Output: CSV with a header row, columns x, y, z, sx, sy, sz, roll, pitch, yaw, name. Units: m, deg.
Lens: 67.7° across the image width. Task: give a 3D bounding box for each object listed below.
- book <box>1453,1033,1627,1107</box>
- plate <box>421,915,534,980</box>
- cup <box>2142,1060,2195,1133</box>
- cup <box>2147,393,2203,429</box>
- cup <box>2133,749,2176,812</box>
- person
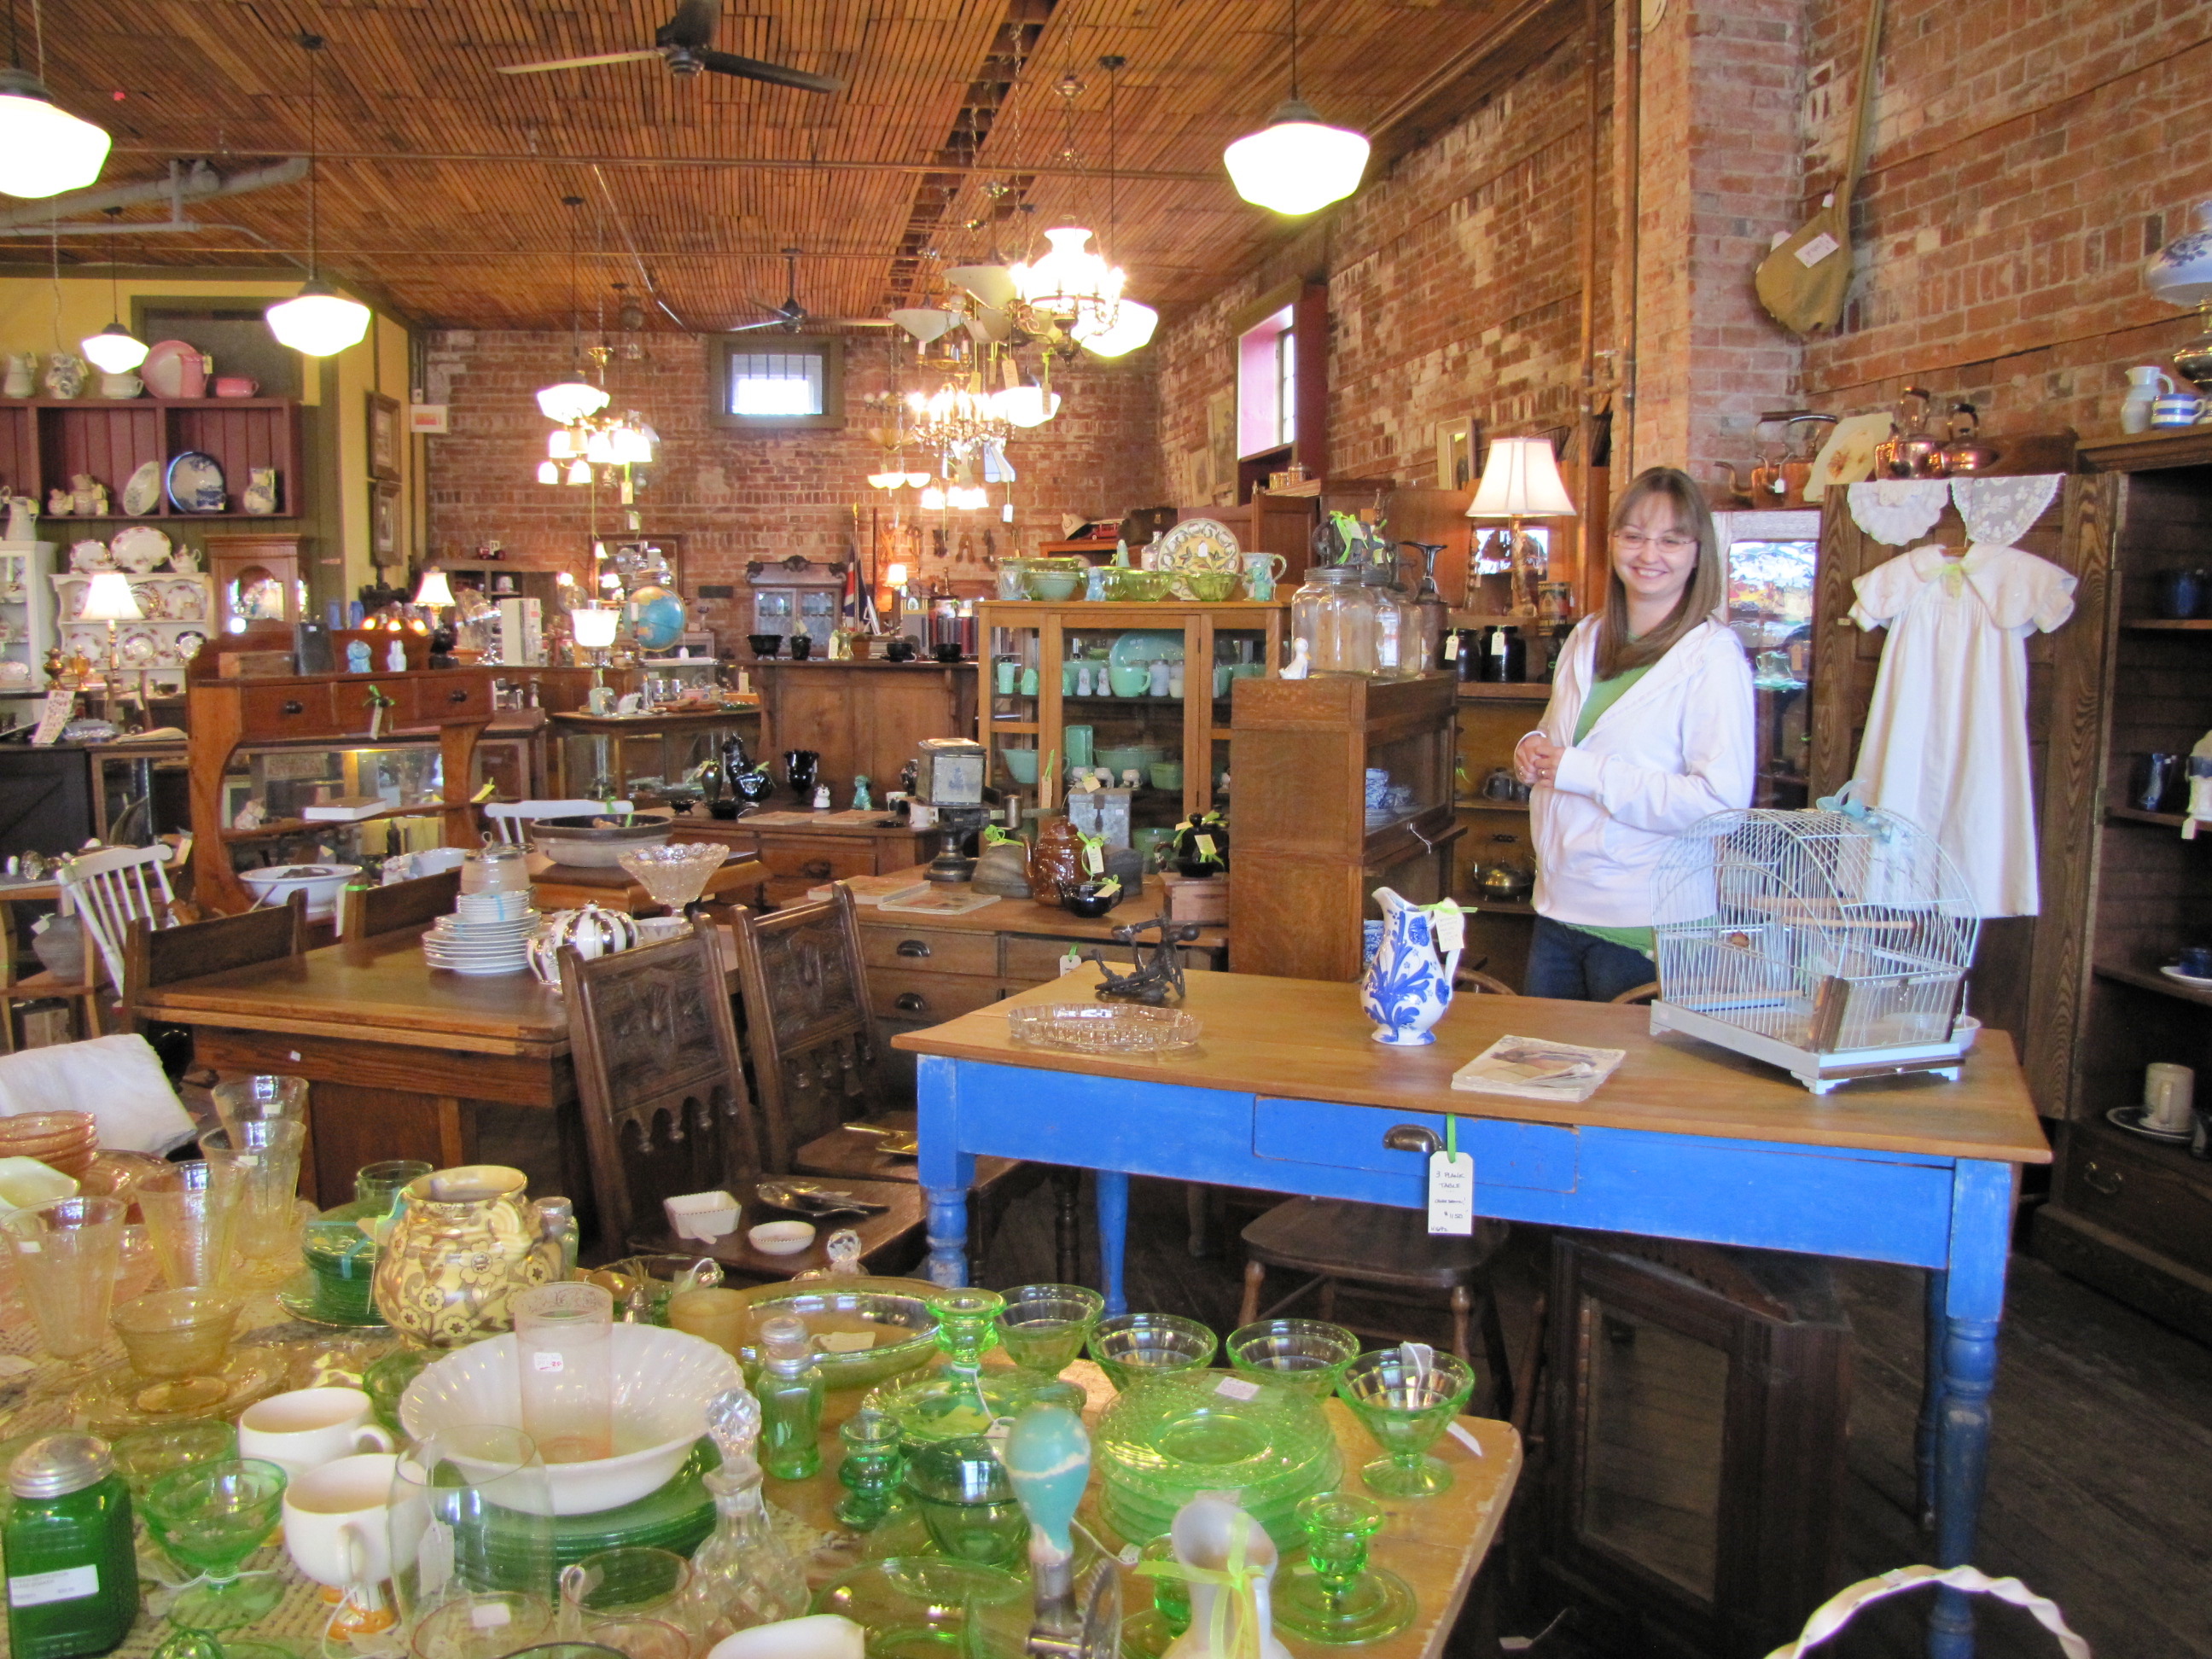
x,y,z,sx,sy,sz,roll,pitch,yaw,name
0.748,0.407,2.836,0.235,0.039,0.320,2,7,27,book
-1.468,0.254,3.857,0.177,0.077,0.174,-5,9,-41,plate
2.770,0.688,4.293,0.113,0.173,0.170,3,8,31,cup
2.687,-1.049,4.144,0.124,0.081,0.122,-1,5,0,cup
2.723,-0.123,4.275,0.106,0.146,0.095,2,8,29,cup
1.187,-0.194,3.696,0.473,1.200,0.354,0,8,14,person
